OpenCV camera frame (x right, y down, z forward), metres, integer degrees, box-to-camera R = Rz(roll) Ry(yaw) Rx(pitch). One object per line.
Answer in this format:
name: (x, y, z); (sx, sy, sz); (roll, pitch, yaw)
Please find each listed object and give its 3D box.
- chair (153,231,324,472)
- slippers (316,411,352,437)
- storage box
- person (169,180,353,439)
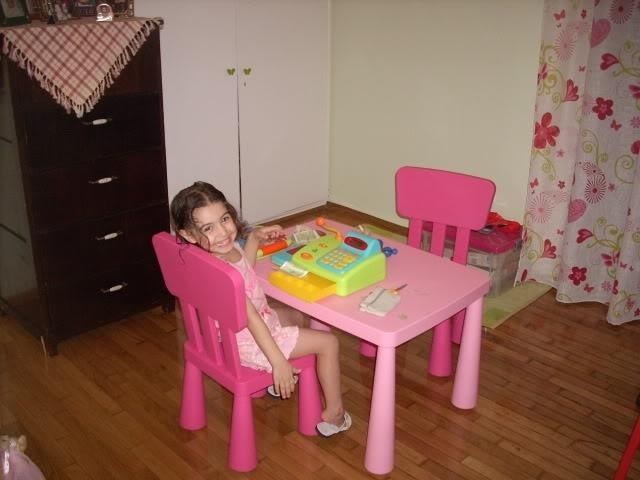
chair: (-0.285, 0.439, 1.743); (0.470, 0.814, 0.482); (29, 40, 36)
slippers: (0.058, 0.758, 1.919); (0.146, 0.055, 0.072); (-11, 52, -23)
storage box: (0.934, 0.130, 2.822); (0.399, 0.352, 0.545); (-27, 40, -36)
person: (-0.191, 0.312, 1.716); (0.548, 0.931, 0.465); (-8, 28, -15)
